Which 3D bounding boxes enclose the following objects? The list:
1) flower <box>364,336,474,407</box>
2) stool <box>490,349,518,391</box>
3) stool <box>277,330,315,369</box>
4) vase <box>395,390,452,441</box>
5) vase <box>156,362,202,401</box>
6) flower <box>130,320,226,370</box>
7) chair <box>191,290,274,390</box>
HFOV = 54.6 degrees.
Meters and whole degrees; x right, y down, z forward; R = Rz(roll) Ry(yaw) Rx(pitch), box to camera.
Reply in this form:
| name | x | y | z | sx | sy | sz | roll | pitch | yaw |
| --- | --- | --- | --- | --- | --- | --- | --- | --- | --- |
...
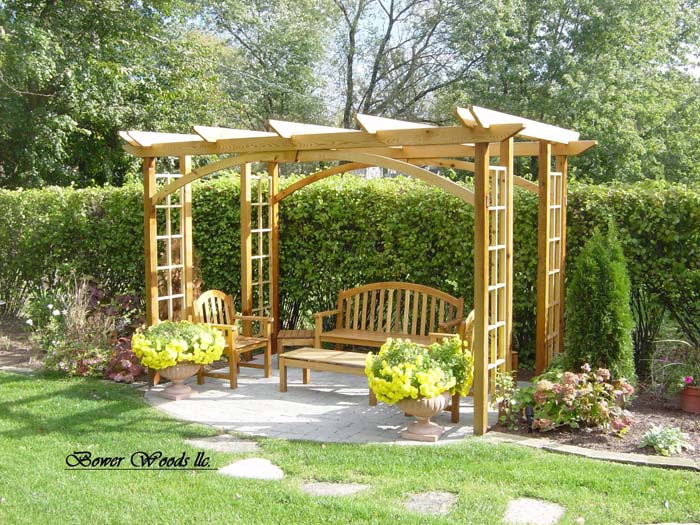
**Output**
| name | x | y | z | sx | sy | sz | roll | pitch | yaw |
| --- | --- | --- | --- | --- | --- | --- | --- | --- | --- |
| flower | 0.745 | 1.136 | 7.160 | 0.793 | 0.585 | 0.881 | 0 | 0 | -2 |
| stool | 1.883 | 1.208 | 8.139 | 0.386 | 0.544 | 0.550 | 0 | 3 | 16 |
| stool | -0.787 | 1.226 | 9.710 | 0.482 | 0.472 | 0.470 | 0 | 4 | -3 |
| vase | 0.758 | 1.594 | 7.190 | 0.483 | 0.418 | 0.487 | -2 | -5 | 25 |
| vase | -2.156 | 1.450 | 8.517 | 0.477 | 0.364 | 0.456 | 2 | 4 | 38 |
| flower | -2.232 | 1.061 | 8.750 | 1.238 | 0.585 | 1.135 | -2 | 1 | -29 |
| chair | -1.622 | 1.007 | 9.216 | 0.792 | 1.202 | 0.898 | 0 | 3 | 23 |
